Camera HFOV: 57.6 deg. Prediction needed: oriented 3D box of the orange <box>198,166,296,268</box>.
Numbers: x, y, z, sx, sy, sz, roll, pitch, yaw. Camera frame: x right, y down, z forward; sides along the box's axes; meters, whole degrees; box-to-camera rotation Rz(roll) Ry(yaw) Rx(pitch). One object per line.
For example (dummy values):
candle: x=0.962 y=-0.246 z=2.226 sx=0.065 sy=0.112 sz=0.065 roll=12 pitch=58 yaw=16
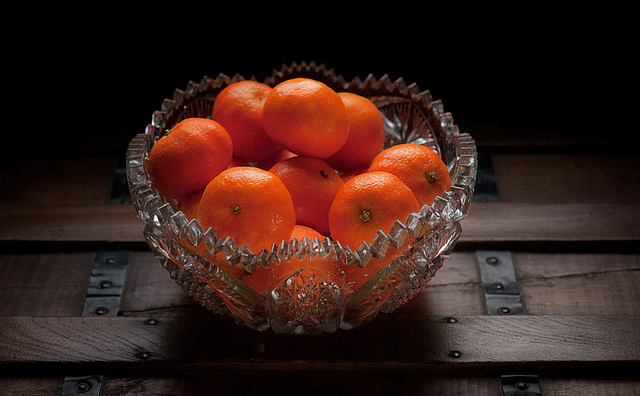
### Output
orange: x=-0.142 y=0.033 z=1.073 sx=0.200 sy=0.187 sz=0.193 roll=-5 pitch=2 yaw=-8

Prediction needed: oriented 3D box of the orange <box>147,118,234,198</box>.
orange: x=-0.253 y=-0.066 z=1.119 sx=0.132 sy=0.105 sz=0.140 roll=9 pitch=51 yaw=51

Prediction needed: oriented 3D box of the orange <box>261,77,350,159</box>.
orange: x=-0.034 y=-0.152 z=1.136 sx=0.187 sy=0.169 sz=0.168 roll=-9 pitch=9 yaw=-15

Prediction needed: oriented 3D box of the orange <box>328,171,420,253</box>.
orange: x=0.097 y=0.023 z=1.024 sx=0.137 sy=0.129 sz=0.095 roll=-6 pitch=17 yaw=-32

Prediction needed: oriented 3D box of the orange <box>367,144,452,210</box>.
orange: x=0.167 y=-0.039 z=1.121 sx=0.126 sy=0.124 sz=0.120 roll=2 pitch=46 yaw=-6

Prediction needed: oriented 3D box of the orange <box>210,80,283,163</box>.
orange: x=-0.146 y=-0.143 z=1.204 sx=0.145 sy=0.137 sz=0.143 roll=-8 pitch=58 yaw=-26

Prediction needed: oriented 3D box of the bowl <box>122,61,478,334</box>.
bowl: x=-0.048 y=-0.027 z=1.083 sx=0.573 sy=0.308 sz=0.577 roll=1 pitch=40 yaw=-1

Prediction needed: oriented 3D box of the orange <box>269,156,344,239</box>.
orange: x=-0.017 y=-0.017 z=1.127 sx=0.142 sy=0.133 sz=0.138 roll=19 pitch=7 yaw=-19

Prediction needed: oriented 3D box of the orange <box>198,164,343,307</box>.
orange: x=-0.083 y=0.060 z=1.059 sx=0.293 sy=0.177 sz=0.135 roll=41 pitch=22 yaw=3

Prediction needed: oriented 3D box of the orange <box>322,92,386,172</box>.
orange: x=0.070 y=-0.142 z=1.174 sx=0.141 sy=0.168 sz=0.139 roll=-1 pitch=20 yaw=-5
